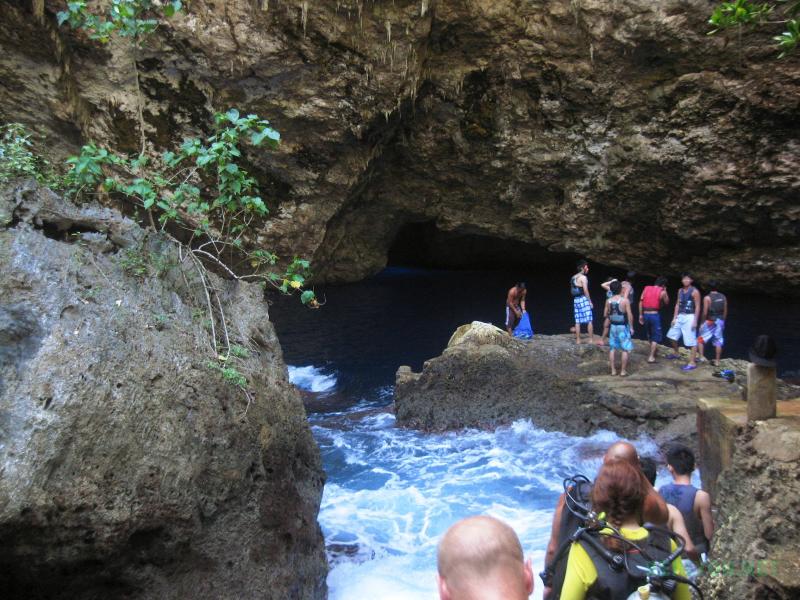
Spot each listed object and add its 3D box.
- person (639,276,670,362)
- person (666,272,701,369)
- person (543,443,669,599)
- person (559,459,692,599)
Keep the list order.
[{"bbox_3d":[4.447,0.380,12.012,0.445,1.479,1.179,0,-3,21],"label":"person"},{"bbox_3d":[4.843,0.375,11.667,0.462,1.515,1.258,0,-3,21],"label":"person"},{"bbox_3d":[1.725,1.876,5.715,0.661,0.801,1.979,21,-21,10],"label":"person"},{"bbox_3d":[1.654,1.773,5.185,0.972,1.052,0.549,1,-3,3],"label":"person"}]
